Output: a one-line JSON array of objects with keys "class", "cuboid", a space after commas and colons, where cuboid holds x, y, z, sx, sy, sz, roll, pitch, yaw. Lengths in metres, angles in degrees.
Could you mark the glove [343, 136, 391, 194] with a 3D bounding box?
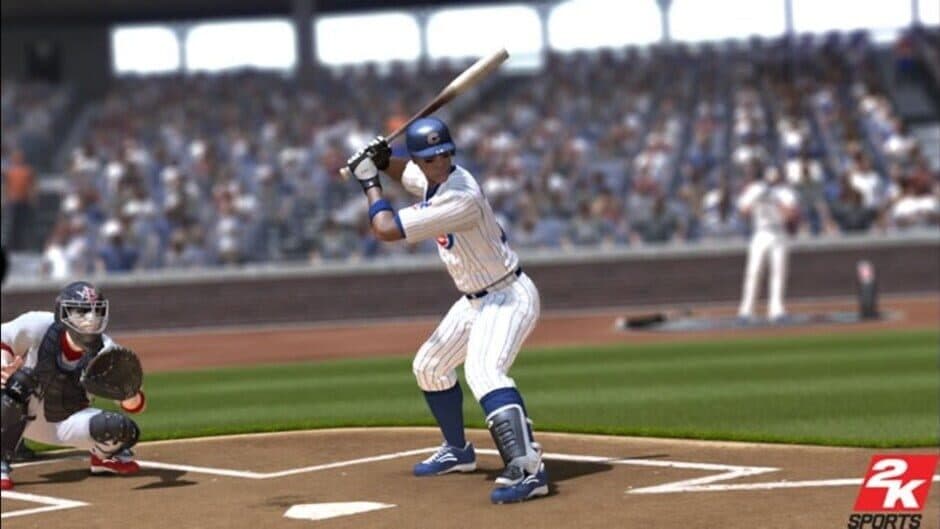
[{"class": "glove", "cuboid": [-1.287, -1.312, 19.098, 0.692, 0.675, 0.218, -33, -28, -3]}]
